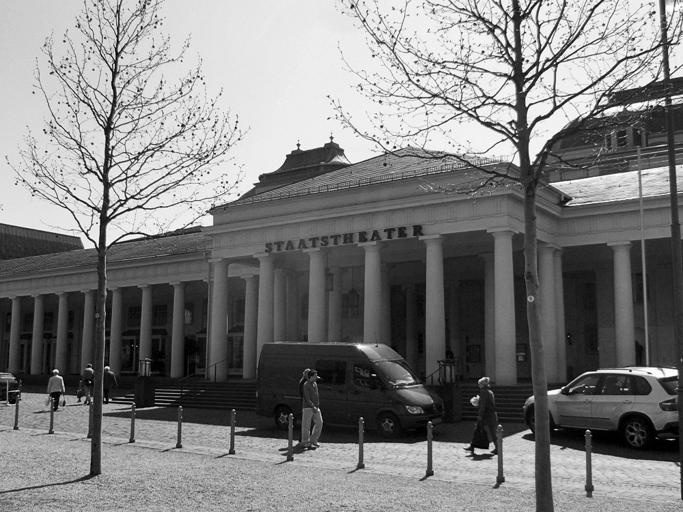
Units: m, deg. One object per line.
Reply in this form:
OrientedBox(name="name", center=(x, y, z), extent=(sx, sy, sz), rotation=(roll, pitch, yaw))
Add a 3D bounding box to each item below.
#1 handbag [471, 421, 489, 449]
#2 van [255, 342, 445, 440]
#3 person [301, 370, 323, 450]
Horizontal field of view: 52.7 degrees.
OrientedBox(name="handbag", center=(3.788, 4.880, 18.764), extent=(0.502, 0.691, 0.395), rotation=(-4, -12, 15))
OrientedBox(name="van", center=(0.311, 4.477, 23.680), extent=(6.624, 2.863, 2.757), rotation=(-6, -11, 36))
OrientedBox(name="person", center=(-0.849, 4.333, 19.620), extent=(0.549, 2.170, 1.038), rotation=(0, -12, -2))
